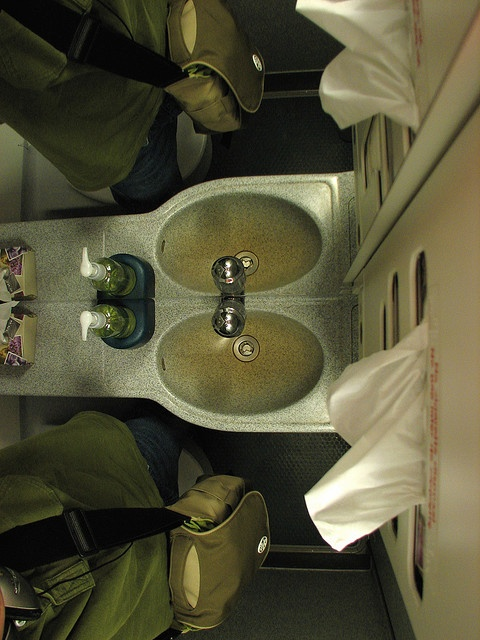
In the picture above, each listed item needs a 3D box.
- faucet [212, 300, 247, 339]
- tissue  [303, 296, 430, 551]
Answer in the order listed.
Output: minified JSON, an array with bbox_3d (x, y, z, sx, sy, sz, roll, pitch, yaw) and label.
[{"bbox_3d":[-0.027,-0.011,1.274,0.071,0.059,0.096,15,68,6],"label":"faucet"},{"bbox_3d":[0.230,0.186,0.938,0.332,0.222,0.335,1,94,-39],"label":"tissue "}]
